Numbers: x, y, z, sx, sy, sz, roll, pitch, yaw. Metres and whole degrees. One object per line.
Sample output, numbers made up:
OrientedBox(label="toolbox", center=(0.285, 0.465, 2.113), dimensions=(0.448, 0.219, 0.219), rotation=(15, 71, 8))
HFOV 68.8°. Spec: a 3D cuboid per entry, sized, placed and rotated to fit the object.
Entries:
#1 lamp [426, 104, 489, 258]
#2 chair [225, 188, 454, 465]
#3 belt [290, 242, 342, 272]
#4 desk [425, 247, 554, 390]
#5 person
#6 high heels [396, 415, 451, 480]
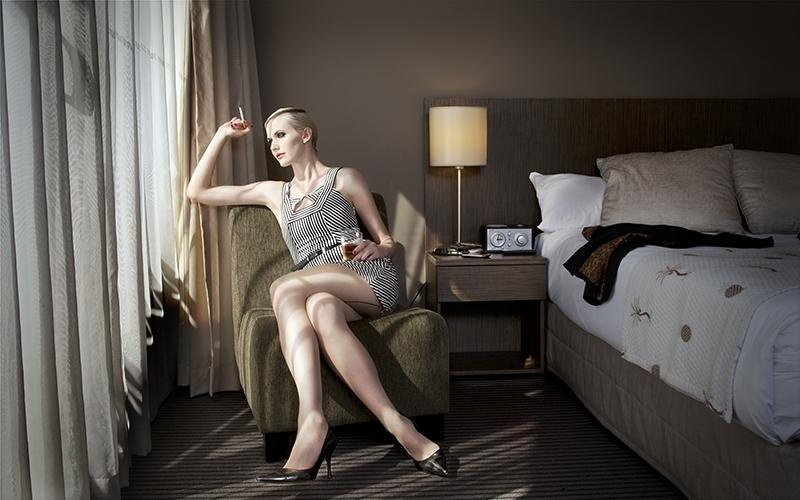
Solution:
OrientedBox(label="lamp", center=(0.416, -0.464, 4.169), dimensions=(0.406, 1.081, 0.413), rotation=(-1, 12, 3))
OrientedBox(label="chair", center=(-0.441, 0.357, 3.479), dimensions=(1.122, 1.504, 1.478), rotation=(-3, -3, -11))
OrientedBox(label="belt", center=(-0.446, 0.045, 3.195), dimensions=(0.208, 0.045, 0.040), rotation=(-34, 34, -7))
OrientedBox(label="desk", center=(0.669, 0.636, 4.145), dimensions=(0.762, 0.612, 0.759), rotation=(2, 38, 20))
OrientedBox(label="person", center=(-0.522, 0.250, 3.217), dimensions=(1.167, 2.191, 1.128), rotation=(-16, -13, 1))
OrientedBox(label="high heels", center=(0.108, 0.931, 2.698), dimensions=(0.118, 0.079, 0.390), rotation=(-22, 32, -14))
